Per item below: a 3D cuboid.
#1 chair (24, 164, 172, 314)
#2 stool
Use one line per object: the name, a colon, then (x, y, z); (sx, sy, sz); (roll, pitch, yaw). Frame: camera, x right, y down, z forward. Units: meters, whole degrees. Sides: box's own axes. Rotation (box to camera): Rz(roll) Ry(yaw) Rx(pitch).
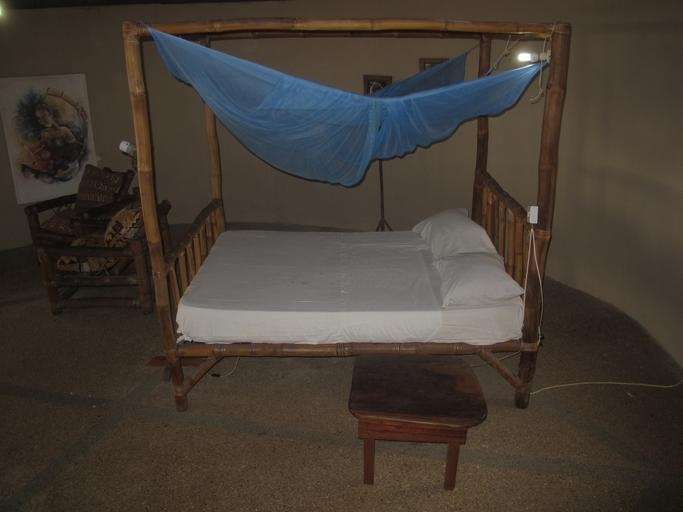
chair: (-2.713, -0.262, 6.381); (1.410, 1.667, 1.853); (-3, 25, -10)
stool: (0.532, 1.148, 4.366); (0.826, 0.590, 0.901); (3, 32, 4)
